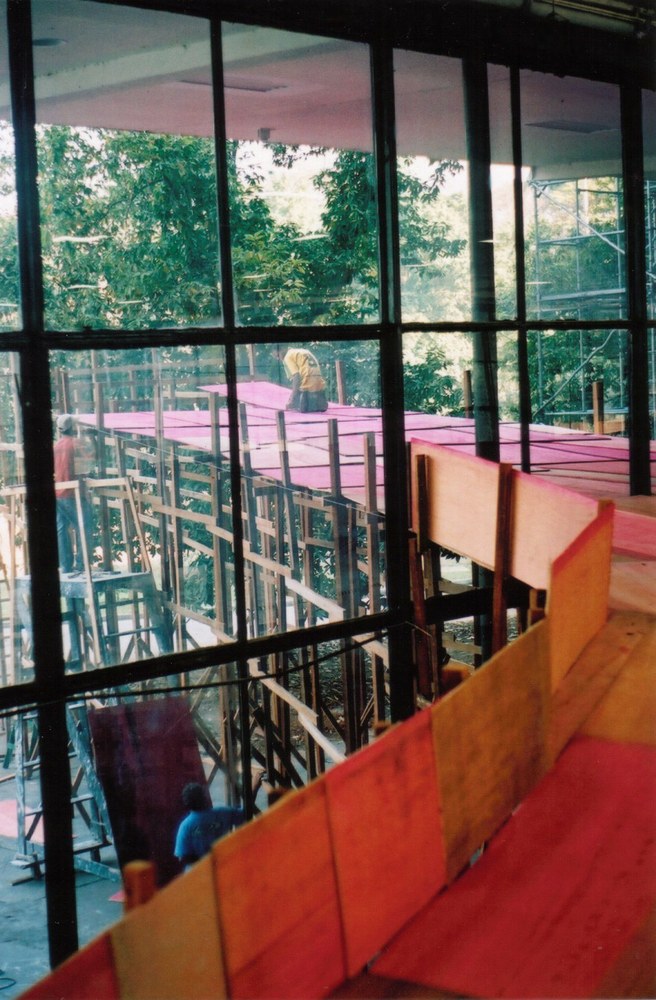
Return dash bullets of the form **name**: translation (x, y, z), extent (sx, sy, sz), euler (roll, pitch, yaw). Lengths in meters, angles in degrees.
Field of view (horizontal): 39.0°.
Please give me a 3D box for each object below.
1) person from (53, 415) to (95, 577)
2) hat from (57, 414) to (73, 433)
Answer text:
- **person**: translation (-1.896, -0.027, 6.907), extent (0.281, 1.199, 0.762), euler (-6, 5, -16)
- **hat**: translation (-1.865, -0.550, 6.663), extent (0.130, 0.129, 0.111), euler (-11, 17, -34)
